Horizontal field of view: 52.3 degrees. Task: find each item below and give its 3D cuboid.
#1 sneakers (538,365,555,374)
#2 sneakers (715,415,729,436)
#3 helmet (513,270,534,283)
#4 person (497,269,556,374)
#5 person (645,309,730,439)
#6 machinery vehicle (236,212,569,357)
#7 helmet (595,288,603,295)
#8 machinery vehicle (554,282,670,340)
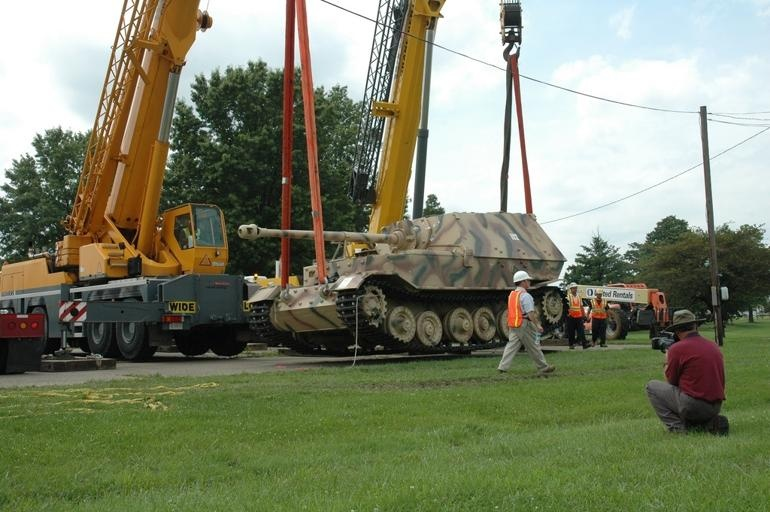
[{"bbox_3d":[3.604,2.521,17.482,0.275,0.165,0.161,-1,9,1],"label":"sneakers"},{"bbox_3d":[4.874,2.420,11.351,0.105,0.364,0.157,-3,-9,14],"label":"sneakers"},{"bbox_3d":[3.162,0.465,17.955,0.469,0.272,0.378,-4,3,9],"label":"helmet"},{"bbox_3d":[3.152,1.484,17.994,1.107,2.408,1.411,-4,-7,11],"label":"person"},{"bbox_3d":[4.454,1.704,11.637,1.074,1.835,0.596,-5,-7,19],"label":"person"},{"bbox_3d":[0.834,-0.294,23.812,8.926,4.147,5.333,1,24,-35],"label":"machinery vehicle"},{"bbox_3d":[8.932,1.452,32.805,0.193,0.250,0.283,1,-37,5],"label":"helmet"},{"bbox_3d":[10.375,2.639,36.865,1.832,2.721,6.143,8,-7,-41],"label":"machinery vehicle"}]
